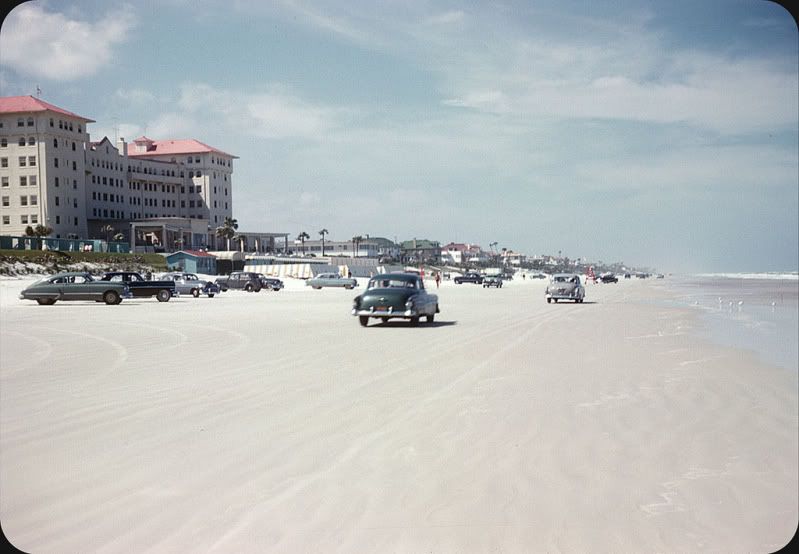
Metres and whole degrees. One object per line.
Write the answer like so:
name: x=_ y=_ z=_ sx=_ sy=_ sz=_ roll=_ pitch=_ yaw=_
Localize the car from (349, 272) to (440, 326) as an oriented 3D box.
car: x=-0.123 y=0.759 z=24.116 sx=1.995 sy=1.736 sz=2.609 roll=2 pitch=4 yaw=24
